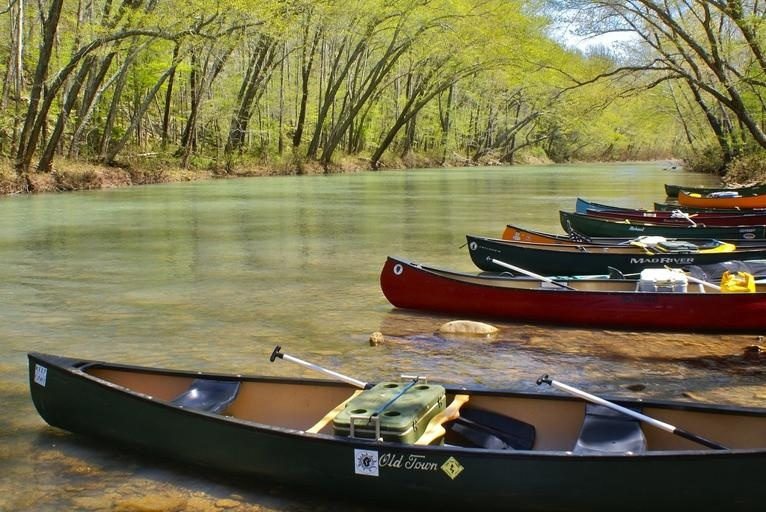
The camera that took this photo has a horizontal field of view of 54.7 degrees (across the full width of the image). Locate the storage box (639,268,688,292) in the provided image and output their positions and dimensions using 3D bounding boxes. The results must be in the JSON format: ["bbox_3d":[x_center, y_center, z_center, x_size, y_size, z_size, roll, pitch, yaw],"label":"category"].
[{"bbox_3d":[4.276,0.389,11.335,0.741,0.321,0.876,0,3,15],"label":"storage box"}]

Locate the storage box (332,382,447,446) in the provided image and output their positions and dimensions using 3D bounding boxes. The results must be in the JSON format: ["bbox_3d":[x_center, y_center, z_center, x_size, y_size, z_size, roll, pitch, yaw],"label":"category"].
[{"bbox_3d":[0.061,1.526,7.278,0.832,0.459,0.805,1,4,23],"label":"storage box"}]
